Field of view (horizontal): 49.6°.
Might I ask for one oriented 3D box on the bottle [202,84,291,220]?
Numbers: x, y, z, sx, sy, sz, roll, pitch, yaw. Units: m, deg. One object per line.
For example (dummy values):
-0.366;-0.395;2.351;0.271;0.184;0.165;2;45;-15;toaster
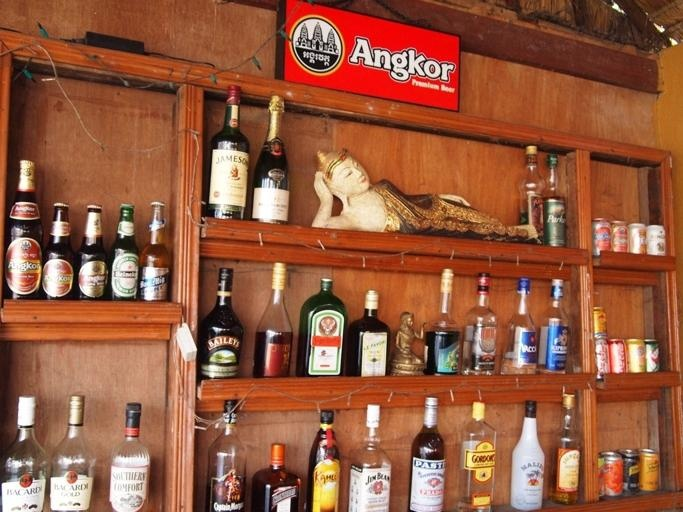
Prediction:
-0.301;-0.311;2.347;0.252;0.418;0.162;3;-10;-20;bottle
